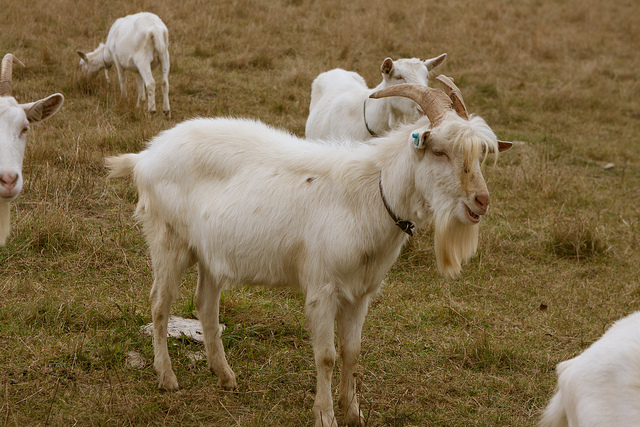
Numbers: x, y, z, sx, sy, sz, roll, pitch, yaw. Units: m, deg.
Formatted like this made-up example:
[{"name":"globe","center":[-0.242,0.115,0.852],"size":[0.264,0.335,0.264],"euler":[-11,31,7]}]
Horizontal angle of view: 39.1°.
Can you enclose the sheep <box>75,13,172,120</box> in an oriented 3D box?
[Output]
[{"name":"sheep","center":[-3.437,-2.598,15.856],"size":[2.217,1.626,0.718],"euler":[8,16,42]}]

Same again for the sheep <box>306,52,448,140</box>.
[{"name":"sheep","center":[0.795,-1.757,13.764],"size":[1.041,1.858,2.571],"euler":[-11,11,-38]}]

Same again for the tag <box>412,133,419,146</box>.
[{"name":"tag","center":[1.065,-0.817,10.058],"size":[0.073,0.105,0.041],"euler":[-2,1,43]}]
